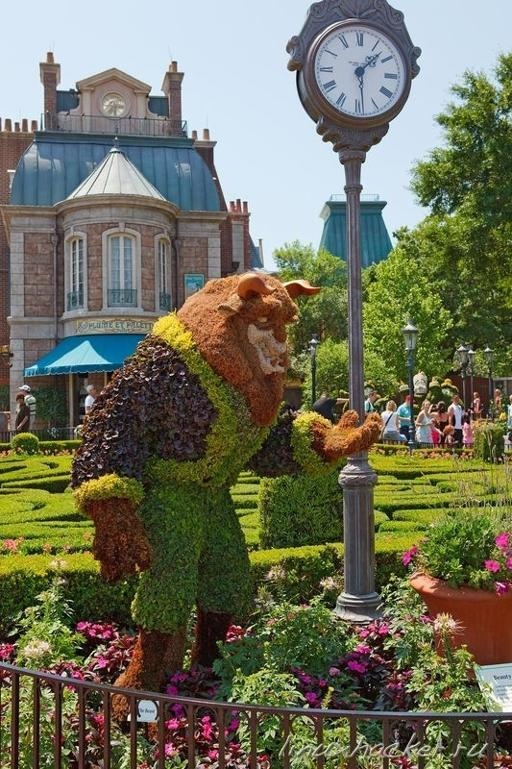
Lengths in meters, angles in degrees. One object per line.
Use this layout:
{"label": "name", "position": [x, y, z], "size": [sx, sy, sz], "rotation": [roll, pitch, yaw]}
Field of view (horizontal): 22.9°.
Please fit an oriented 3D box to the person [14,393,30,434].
{"label": "person", "position": [-3.781, 0.463, 20.651], "size": [0.196, 0.686, 1.345], "rotation": [-1, -3, -11]}
